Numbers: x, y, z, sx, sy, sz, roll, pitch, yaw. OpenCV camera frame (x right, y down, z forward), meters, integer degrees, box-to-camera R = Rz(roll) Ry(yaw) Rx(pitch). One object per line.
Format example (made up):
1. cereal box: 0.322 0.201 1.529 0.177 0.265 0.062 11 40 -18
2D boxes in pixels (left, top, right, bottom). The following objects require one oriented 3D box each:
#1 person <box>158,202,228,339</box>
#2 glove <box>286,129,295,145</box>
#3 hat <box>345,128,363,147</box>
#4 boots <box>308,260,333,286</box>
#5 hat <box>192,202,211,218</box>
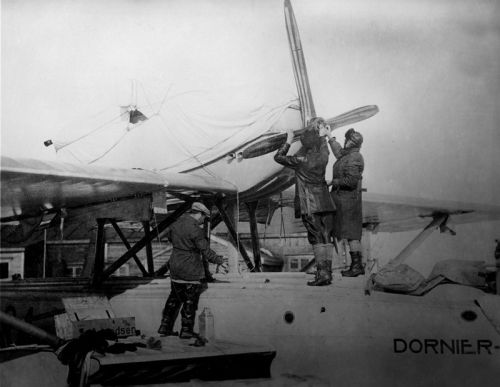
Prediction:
1. person: -0.655 0.830 8.062 0.707 1.109 0.243 -3 -1 17
2. glove: 0.424 -0.609 8.039 0.078 0.148 0.039 9 0 15
3. hat: 1.099 -0.595 7.975 0.149 0.193 0.150 9 -51 -29
4. boots: 0.817 0.867 7.969 0.359 0.279 0.152 -5 -10 44
5. hat: -0.537 0.173 8.075 0.184 0.098 0.131 16 13 -35
